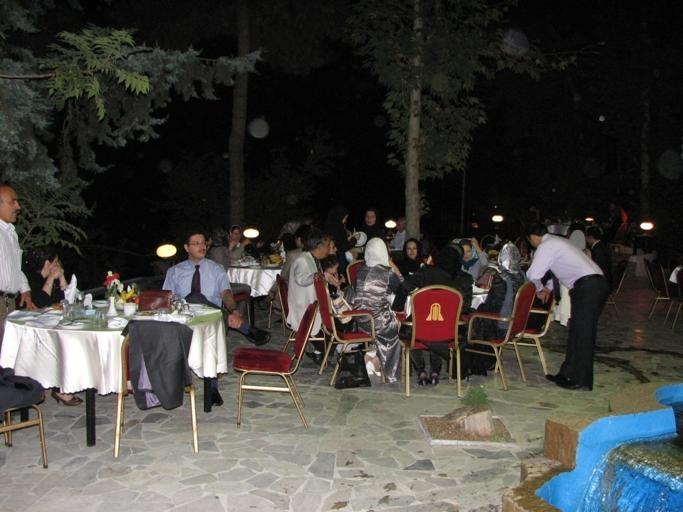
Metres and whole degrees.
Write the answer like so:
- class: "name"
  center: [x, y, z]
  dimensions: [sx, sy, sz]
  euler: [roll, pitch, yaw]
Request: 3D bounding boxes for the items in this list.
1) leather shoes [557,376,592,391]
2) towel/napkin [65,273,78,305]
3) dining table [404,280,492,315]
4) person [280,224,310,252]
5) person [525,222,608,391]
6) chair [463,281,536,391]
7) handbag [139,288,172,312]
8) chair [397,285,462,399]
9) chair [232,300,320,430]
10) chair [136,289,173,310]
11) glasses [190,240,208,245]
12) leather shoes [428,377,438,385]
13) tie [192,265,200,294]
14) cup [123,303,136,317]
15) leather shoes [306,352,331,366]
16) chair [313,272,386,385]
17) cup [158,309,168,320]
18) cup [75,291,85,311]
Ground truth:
- class: "leather shoes"
  center: [2.983, 1.614, 7.009]
  dimensions: [0.372, 0.161, 0.151]
  euler: [8, 3, 27]
- class: "towel/napkin"
  center: [-3.158, 0.401, 6.425]
  dimensions: [0.111, 0.345, 0.140]
  euler: [11, -35, -20]
- class: "dining table"
  center: [1.539, 0.731, 8.648]
  dimensions: [1.260, 0.561, 1.505]
  euler: [-1, 1, -12]
- class: "person"
  center: [-0.872, -0.322, 10.446]
  dimensions: [0.245, 0.270, 0.761]
  euler: [-15, 10, -34]
- class: "person"
  center: [2.946, 0.632, 7.283]
  dimensions: [1.021, 2.048, 0.877]
  euler: [5, 9, 25]
- class: "chair"
  center: [2.158, 0.976, 7.353]
  dimensions: [0.777, 1.373, 0.959]
  euler: [8, 11, 39]
- class: "handbag"
  center: [-1.945, 0.472, 5.802]
  dimensions: [0.319, 0.222, 0.191]
  euler: [6, -3, -2]
- class: "chair"
  center: [1.151, 1.019, 6.882]
  dimensions: [0.770, 1.353, 0.735]
  euler: [2, 9, 10]
- class: "chair"
  center: [-0.737, 1.128, 6.106]
  dimensions: [0.971, 1.299, 0.781]
  euler: [1, 4, -14]
- class: "chair"
  center: [-1.948, 0.464, 5.732]
  dimensions: [0.313, 0.155, 0.221]
  euler: [4, 6, 12]
- class: "glasses"
  center: [-1.635, -0.141, 6.348]
  dimensions: [0.083, 0.065, 0.202]
  euler: [7, 9, 39]
- class: "leather shoes"
  center: [1.208, 1.619, 7.154]
  dimensions: [0.137, 0.154, 0.084]
  euler: [0, -7, 4]
- class: "tie"
  center: [-1.702, 0.273, 6.447]
  dimensions: [0.122, 0.305, 0.106]
  euler: [-7, 12, -42]
- class: "cup"
  center: [-2.214, 0.562, 5.767]
  dimensions: [0.120, 0.125, 0.124]
  euler: [2, -5, 0]
- class: "leather shoes"
  center: [-0.355, 1.488, 7.925]
  dimensions: [0.369, 0.160, 0.129]
  euler: [30, 8, 36]
- class: "chair"
  center: [-0.032, 0.963, 7.321]
  dimensions: [0.696, 1.401, 0.882]
  euler: [-3, 9, -24]
- class: "cup"
  center: [-1.774, 0.596, 5.482]
  dimensions: [0.099, 0.106, 0.092]
  euler: [0, 7, 0]
- class: "cup"
  center: [-2.892, 0.510, 6.064]
  dimensions: [0.087, 0.167, 0.226]
  euler: [6, -30, -23]
